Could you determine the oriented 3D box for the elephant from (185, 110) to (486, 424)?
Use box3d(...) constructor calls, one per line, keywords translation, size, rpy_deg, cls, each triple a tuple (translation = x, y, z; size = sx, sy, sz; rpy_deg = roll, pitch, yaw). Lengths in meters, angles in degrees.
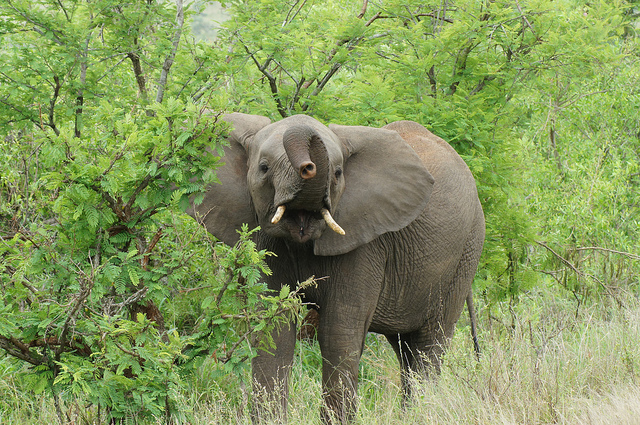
box3d(translation=(0.402, 0.530, 7.285), size=(1.521, 3.292, 3.021), rpy_deg=(-1, 2, 45), cls="elephant")
